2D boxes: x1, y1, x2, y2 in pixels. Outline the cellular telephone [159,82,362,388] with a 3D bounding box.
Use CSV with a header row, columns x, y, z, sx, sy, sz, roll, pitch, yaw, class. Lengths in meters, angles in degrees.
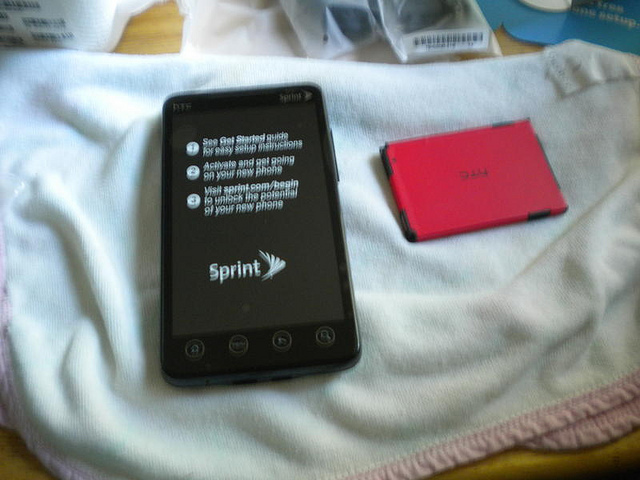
x,y,z,sx,sy,sz,roll,pitch,yaw,class
-0.068,-0.020,0.565,0.169,0.031,0.304,-4,62,-7,cellular telephone
